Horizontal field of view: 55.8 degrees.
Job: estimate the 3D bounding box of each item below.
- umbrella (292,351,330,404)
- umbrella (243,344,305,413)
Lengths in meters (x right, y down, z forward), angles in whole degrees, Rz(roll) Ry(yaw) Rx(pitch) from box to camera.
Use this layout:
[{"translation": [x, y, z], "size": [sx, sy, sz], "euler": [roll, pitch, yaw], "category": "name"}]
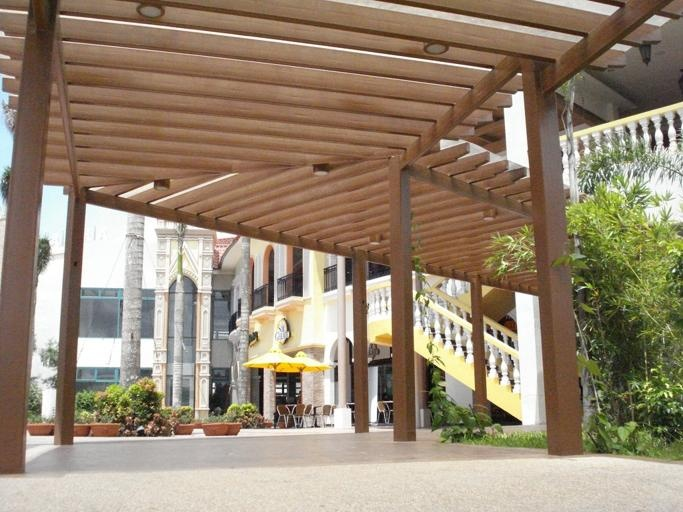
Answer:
[{"translation": [-0.920, 3.405, 19.538], "size": [1.056, 0.897, 0.978], "euler": [5, -19, -16], "category": "umbrella"}, {"translation": [-2.004, 3.622, 19.374], "size": [2.141, 1.931, 2.004], "euler": [7, -9, -34], "category": "umbrella"}]
